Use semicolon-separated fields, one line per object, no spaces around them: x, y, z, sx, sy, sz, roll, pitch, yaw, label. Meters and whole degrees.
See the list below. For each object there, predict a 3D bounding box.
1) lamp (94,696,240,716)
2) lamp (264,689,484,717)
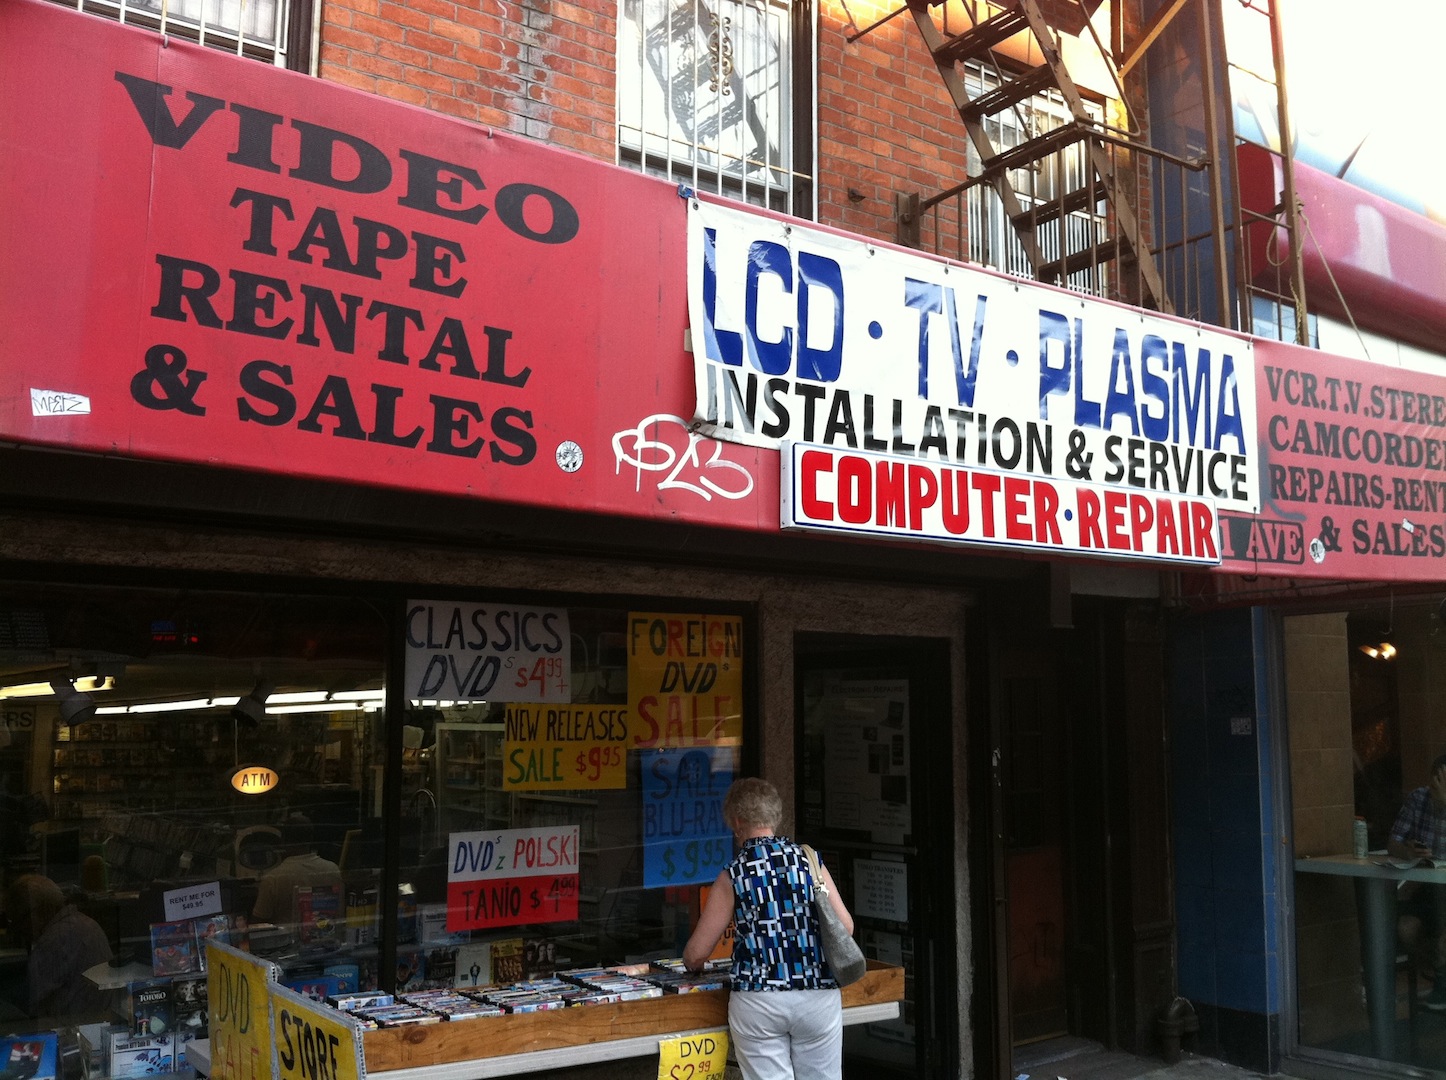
-2.757;0.819;6.825;0.650;0.097;0.029;5;-11;-29;lamp
-1.889;0.854;7.280;1.026;0.133;0.040;5;-11;-30;lamp
